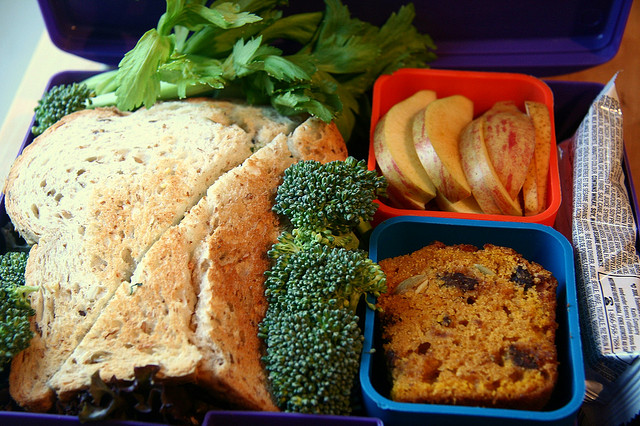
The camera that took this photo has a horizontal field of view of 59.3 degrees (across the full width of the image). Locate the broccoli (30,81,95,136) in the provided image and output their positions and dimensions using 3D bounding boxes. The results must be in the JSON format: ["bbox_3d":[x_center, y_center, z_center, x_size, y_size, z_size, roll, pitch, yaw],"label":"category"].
[{"bbox_3d":[-0.945,-0.379,2.095,0.210,0.166,0.127,-33,98,13],"label":"broccoli"}]

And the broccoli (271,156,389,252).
[{"bbox_3d":[0.001,-0.035,1.821,0.301,0.239,0.313,-42,26,-5],"label":"broccoli"}]

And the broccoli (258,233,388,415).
[{"bbox_3d":[0.014,0.281,1.674,0.224,0.364,0.478,-18,39,13],"label":"broccoli"}]

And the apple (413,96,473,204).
[{"bbox_3d":[0.420,-0.202,1.923,0.237,0.097,0.480,18,56,-15],"label":"apple"}]
